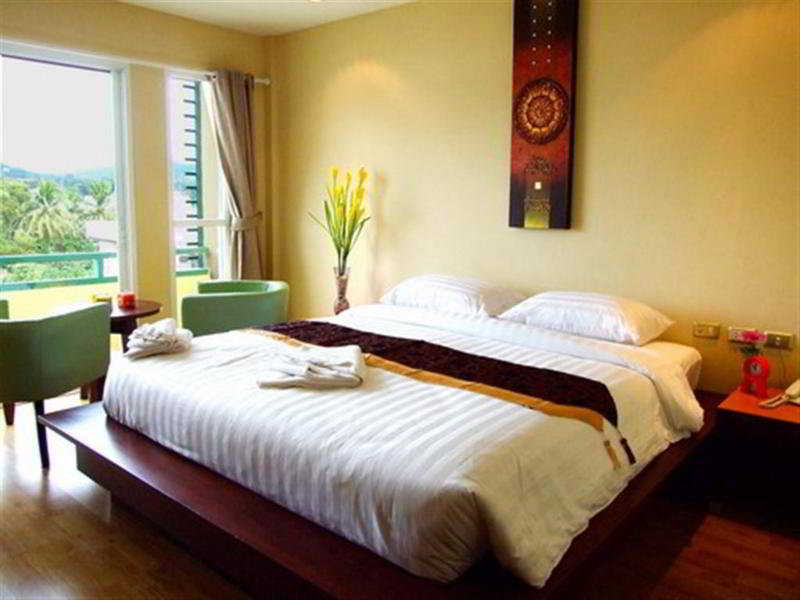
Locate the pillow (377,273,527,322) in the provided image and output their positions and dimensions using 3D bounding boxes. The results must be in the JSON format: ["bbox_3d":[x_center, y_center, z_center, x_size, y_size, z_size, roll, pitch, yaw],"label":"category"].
[{"bbox_3d":[0.366,-0.034,4.056,0.639,0.168,0.434,7,18,36],"label":"pillow"}]

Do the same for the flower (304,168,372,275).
[{"bbox_3d":[-0.506,-0.734,5.024,0.454,0.933,0.654,-3,15,-13],"label":"flower"}]

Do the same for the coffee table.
[{"bbox_3d":[-2.047,0.394,4.152,0.628,0.760,0.648,-2,14,-23],"label":"coffee table"}]

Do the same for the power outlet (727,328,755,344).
[{"bbox_3d":[2.053,0.217,3.329,0.108,0.034,0.118,-3,8,27],"label":"power outlet"}]

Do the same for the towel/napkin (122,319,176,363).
[{"bbox_3d":[-1.381,0.215,3.040,0.215,0.087,0.232,-4,11,19],"label":"towel/napkin"}]
